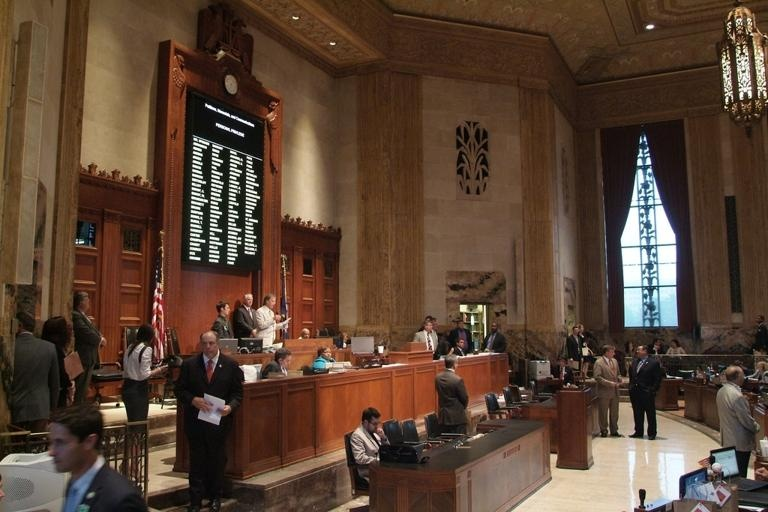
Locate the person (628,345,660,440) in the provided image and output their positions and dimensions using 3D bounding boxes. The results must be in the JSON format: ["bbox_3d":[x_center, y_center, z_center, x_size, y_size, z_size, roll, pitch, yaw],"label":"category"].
[{"bbox_3d":[5.737,2.957,13.284,0.679,1.975,0.852,-4,-8,22],"label":"person"}]

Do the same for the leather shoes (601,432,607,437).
[{"bbox_3d":[4.893,3.940,13.434,0.115,0.118,0.086,-7,-34,11],"label":"leather shoes"}]

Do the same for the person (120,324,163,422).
[{"bbox_3d":[-3.451,1.685,8.654,0.543,1.415,2.865,2,-9,-20],"label":"person"}]

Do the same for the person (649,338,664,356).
[{"bbox_3d":[9.186,3.045,20.353,0.349,1.044,0.438,-1,1,7],"label":"person"}]

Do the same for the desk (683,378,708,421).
[{"bbox_3d":[7.769,3.633,14.813,0.552,0.953,1.018,2,-14,33],"label":"desk"}]

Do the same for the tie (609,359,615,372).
[{"bbox_3d":[5.083,2.417,13.407,0.159,0.220,0.070,22,-23,-27],"label":"tie"}]

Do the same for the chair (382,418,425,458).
[{"bbox_3d":[0.247,2.488,8.046,0.327,0.380,0.611,-2,-30,4],"label":"chair"}]

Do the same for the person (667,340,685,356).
[{"bbox_3d":[9.615,2.973,19.907,0.536,0.523,1.913,-5,-9,26],"label":"person"}]

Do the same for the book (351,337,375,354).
[{"bbox_3d":[-0.431,1.689,11.578,0.487,0.342,0.315,2,-1,-15],"label":"book"}]

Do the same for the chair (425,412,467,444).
[{"bbox_3d":[1.053,2.822,9.859,0.528,0.785,0.603,-8,-9,27],"label":"chair"}]

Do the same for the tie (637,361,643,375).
[{"bbox_3d":[5.541,2.391,13.095,0.083,0.237,0.167,3,-9,-26],"label":"tie"}]

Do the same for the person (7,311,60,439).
[{"bbox_3d":[-4.222,1.590,7.225,0.617,1.830,0.531,1,11,-22],"label":"person"}]

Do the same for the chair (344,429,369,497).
[{"bbox_3d":[-0.373,2.845,8.293,0.302,0.838,0.330,-1,-8,-2],"label":"chair"}]

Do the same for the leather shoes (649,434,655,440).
[{"bbox_3d":[5.773,3.871,13.000,0.131,0.084,0.229,-4,-9,20],"label":"leather shoes"}]

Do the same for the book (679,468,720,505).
[{"bbox_3d":[3.352,2.560,6.417,0.288,0.375,0.519,-7,-7,35],"label":"book"}]

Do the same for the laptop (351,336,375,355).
[{"bbox_3d":[-0.429,1.698,11.584,0.510,0.357,0.310,2,-3,-15],"label":"laptop"}]
